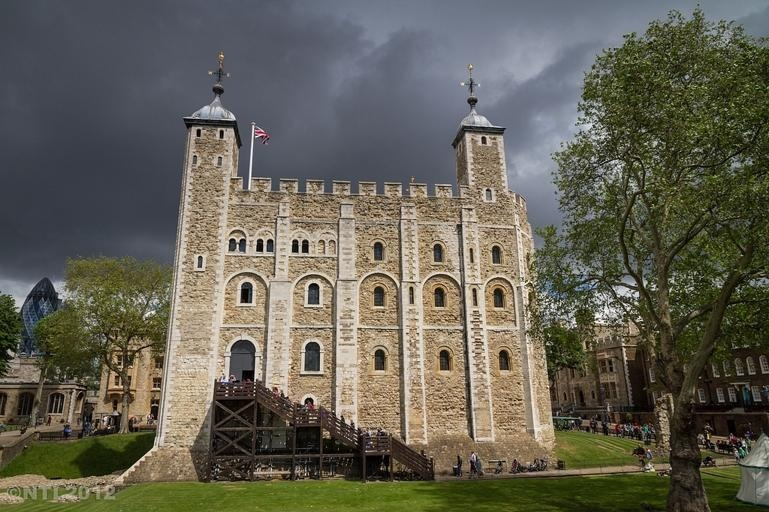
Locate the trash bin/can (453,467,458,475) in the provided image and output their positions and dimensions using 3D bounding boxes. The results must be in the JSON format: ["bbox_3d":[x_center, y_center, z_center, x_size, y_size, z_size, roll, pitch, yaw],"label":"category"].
[{"bbox_3d":[5.692,17.286,43.610,0.414,0.706,0.414,-4,-6,15],"label":"trash bin/can"}]
